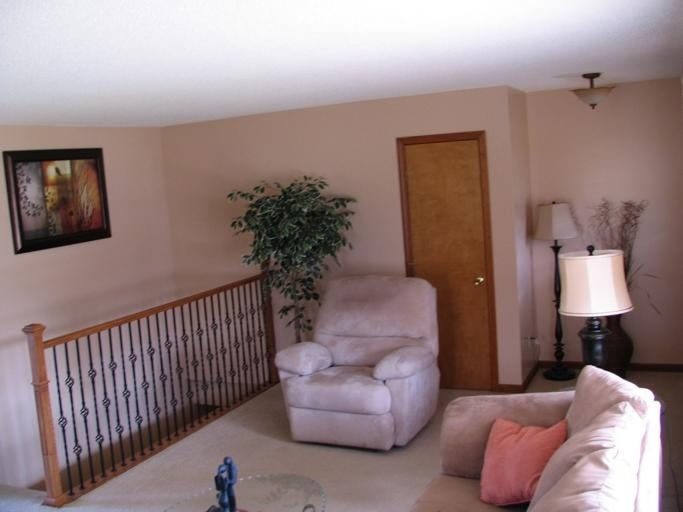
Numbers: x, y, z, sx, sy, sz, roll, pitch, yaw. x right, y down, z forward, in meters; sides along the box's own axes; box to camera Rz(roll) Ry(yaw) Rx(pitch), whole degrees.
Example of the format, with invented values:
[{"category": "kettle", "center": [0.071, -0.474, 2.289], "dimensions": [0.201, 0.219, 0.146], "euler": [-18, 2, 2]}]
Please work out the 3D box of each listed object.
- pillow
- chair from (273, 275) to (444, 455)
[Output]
[{"category": "pillow", "center": [0.990, 1.112, 2.631], "dimensions": [0.181, 0.413, 0.414], "euler": [36, -13, -24]}, {"category": "chair", "center": [0.187, 0.896, 4.606], "dimensions": [1.223, 1.254, 1.170], "euler": [0, 11, 27]}]
